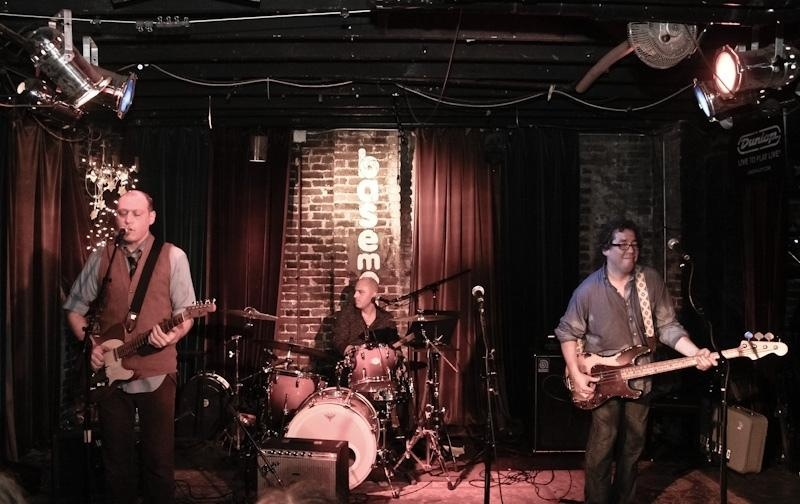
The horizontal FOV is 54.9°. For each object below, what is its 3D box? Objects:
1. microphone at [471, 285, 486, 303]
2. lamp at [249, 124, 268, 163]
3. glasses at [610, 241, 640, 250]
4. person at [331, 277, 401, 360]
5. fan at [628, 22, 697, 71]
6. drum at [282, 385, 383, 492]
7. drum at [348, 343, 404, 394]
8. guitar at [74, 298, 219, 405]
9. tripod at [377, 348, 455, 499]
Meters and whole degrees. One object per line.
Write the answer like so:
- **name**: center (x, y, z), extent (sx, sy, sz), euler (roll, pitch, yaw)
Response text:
- **microphone**: center (0.860, 0.444, 8.335), extent (0.127, 0.127, 0.208), euler (19, 12, 4)
- **lamp**: center (-1.738, -1.333, 9.517), extent (0.218, 0.454, 0.328), euler (2, -5, -9)
- **glasses**: center (2.118, -0.056, 7.212), extent (0.244, 0.071, 0.069), euler (0, -5, 11)
- **person**: center (-0.423, 0.812, 9.011), extent (0.859, 0.994, 0.871), euler (-4, 12, -40)
- **fan**: center (2.500, -1.964, 7.263), extent (0.670, 0.353, 0.358), euler (1, -5, 4)
- **drum**: center (-0.680, 1.996, 8.031), extent (1.001, 0.949, 0.600), euler (3, -3, 6)
- **drum**: center (-0.265, 1.287, 8.452), extent (0.611, 0.453, 0.625), euler (-4, -17, -1)
- **guitar**: center (-2.452, 0.963, 7.310), extent (1.289, 0.541, 0.181), euler (-22, -16, -5)
- **tripod**: center (0.300, 1.810, 8.626), extent (0.661, 1.591, 1.322), euler (0, -5, 17)
